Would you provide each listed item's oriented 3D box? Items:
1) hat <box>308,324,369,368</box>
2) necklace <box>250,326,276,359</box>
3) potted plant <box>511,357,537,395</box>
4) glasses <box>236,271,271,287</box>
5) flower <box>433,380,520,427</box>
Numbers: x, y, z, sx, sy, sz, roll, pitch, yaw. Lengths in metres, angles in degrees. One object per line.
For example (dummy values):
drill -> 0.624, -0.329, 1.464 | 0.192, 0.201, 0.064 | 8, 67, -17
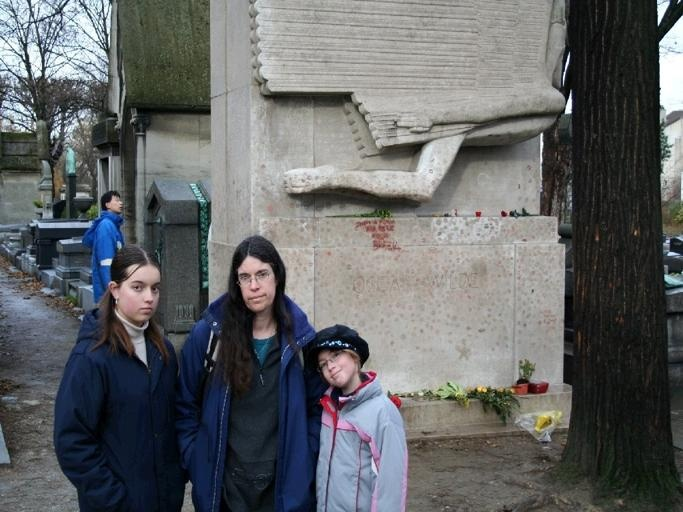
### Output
hat -> -0.040, 0.593, 6.228 | 0.311, 0.216, 0.435 | -9, -14, -26
necklace -> -0.569, 0.622, 6.200 | 0.135, 0.203, 0.048 | 6, -11, 3
potted plant -> 2.098, 1.354, 9.929 | 0.208, 0.344, 0.407 | 3, 9, 21
glasses -> -0.626, 0.150, 6.124 | 0.135, 0.048, 0.143 | -17, -8, 0
flower -> 1.536, 1.564, 9.597 | 0.538, 0.257, 0.553 | 4, 5, -8
